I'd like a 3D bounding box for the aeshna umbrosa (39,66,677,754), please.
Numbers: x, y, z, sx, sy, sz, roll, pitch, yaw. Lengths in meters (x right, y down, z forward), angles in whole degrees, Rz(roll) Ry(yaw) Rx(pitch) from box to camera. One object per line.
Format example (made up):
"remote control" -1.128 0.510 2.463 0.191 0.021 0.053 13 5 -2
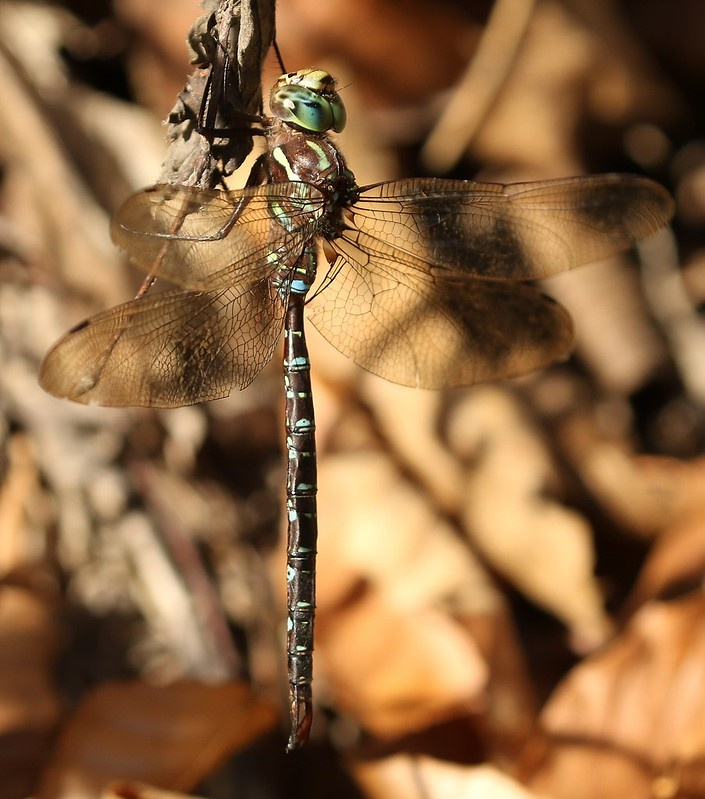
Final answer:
"aeshna umbrosa" -0.003 -0.001 0.631 0.211 0.442 0.382 -9 81 -39
